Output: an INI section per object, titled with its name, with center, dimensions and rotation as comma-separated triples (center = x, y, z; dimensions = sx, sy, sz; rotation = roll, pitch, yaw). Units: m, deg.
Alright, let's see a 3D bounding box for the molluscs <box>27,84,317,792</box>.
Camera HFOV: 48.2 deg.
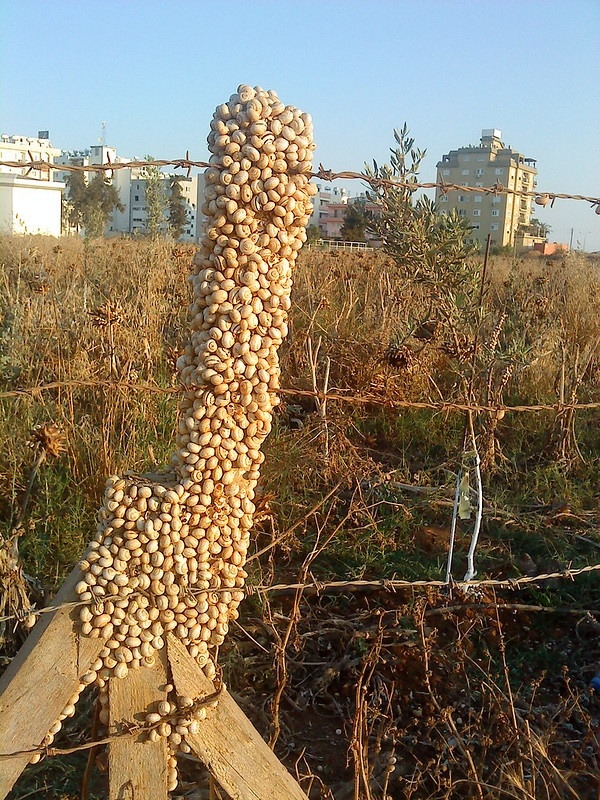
[molluscs]
center = -0.161, 0.035, 1.359
dimensions = 0.480, 1.394, 0.553
rotation = 2, 4, 34
